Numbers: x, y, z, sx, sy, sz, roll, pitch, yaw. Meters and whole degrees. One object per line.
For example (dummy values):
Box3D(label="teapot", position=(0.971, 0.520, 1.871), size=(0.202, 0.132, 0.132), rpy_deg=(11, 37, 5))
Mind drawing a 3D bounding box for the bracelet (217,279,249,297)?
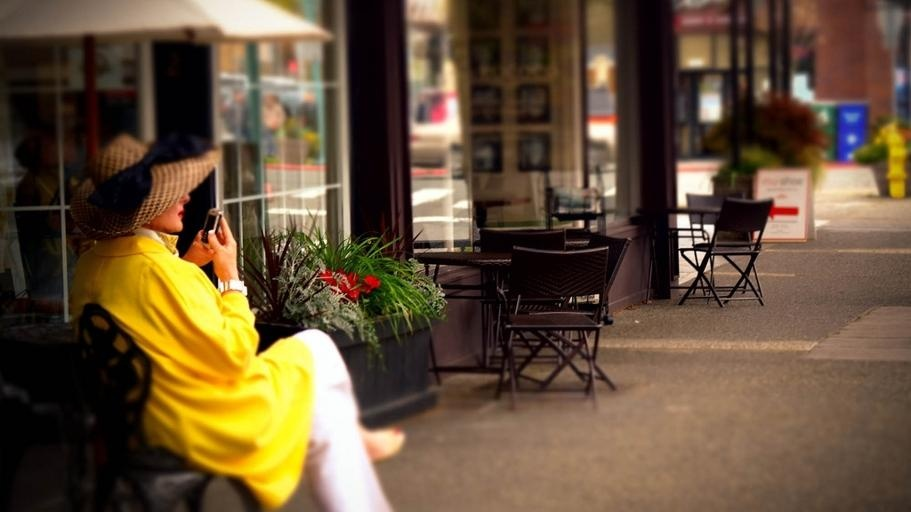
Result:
Box3D(label="bracelet", position=(-1.251, 0.184, 5.143), size=(0.178, 0.104, 0.178), rpy_deg=(1, -1, 9))

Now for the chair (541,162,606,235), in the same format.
Box3D(label="chair", position=(1.415, -0.637, 10.812), size=(0.719, 0.549, 0.718), rpy_deg=(1, 6, 3))

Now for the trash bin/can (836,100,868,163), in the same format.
Box3D(label="trash bin/can", position=(14.732, -4.666, 33.856), size=(1.142, 2.005, 2.227), rpy_deg=(8, 14, 33))

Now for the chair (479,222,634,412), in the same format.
Box3D(label="chair", position=(0.923, 0.466, 7.847), size=(1.057, 1.331, 1.617), rpy_deg=(3, 12, 11))

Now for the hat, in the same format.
Box3D(label="hat", position=(-1.639, -0.352, 4.750), size=(0.777, 0.557, 0.248), rpy_deg=(-1, 12, -6))
